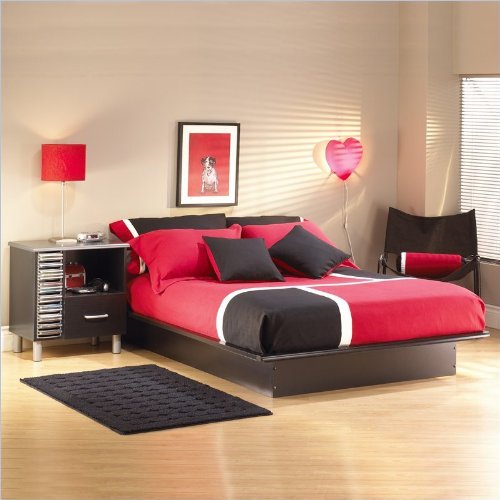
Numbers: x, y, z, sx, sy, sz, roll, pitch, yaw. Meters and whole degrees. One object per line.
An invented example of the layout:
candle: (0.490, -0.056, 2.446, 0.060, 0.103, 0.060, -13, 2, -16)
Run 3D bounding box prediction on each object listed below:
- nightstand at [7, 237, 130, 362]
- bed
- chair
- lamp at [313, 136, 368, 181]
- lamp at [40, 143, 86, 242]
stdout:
nightstand: (-1.333, 0.326, 3.980, 1.135, 1.133, 0.926, -1, 2, -36)
bed: (0.282, 0.274, 3.637, 1.944, 0.771, 1.972, -4, 10, -32)
chair: (1.814, -0.053, 4.947, 1.086, 0.860, 0.859, 1, 12, 14)
lamp: (0.916, -0.954, 4.985, 0.530, 0.418, 0.284, -9, -5, -24)
lamp: (-1.479, -0.441, 3.777, 0.348, 0.787, 0.370, 2, -2, -18)
